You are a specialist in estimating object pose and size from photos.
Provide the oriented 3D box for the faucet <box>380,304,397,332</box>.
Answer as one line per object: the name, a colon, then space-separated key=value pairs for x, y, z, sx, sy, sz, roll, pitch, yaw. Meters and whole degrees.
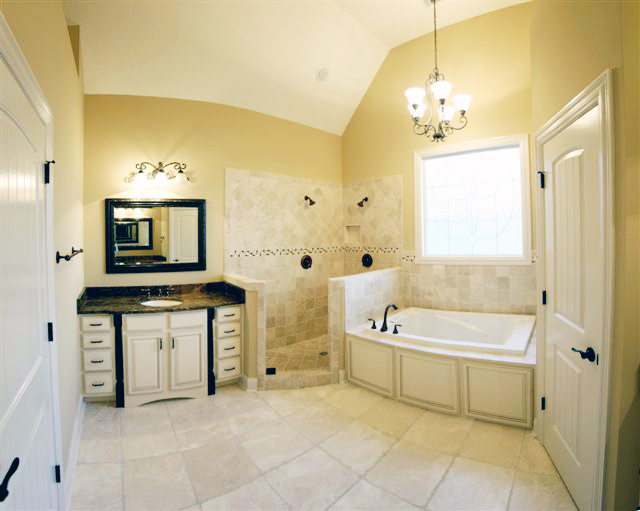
faucet: x=0.729 y=0.624 z=5.107 sx=0.160 sy=0.267 sz=0.871 roll=-1 pitch=1 yaw=9

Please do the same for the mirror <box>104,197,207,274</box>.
mirror: x=-1.750 y=-0.204 z=4.918 sx=0.752 sy=0.690 sz=0.063 roll=0 pitch=1 yaw=-30

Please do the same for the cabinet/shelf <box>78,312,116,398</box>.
cabinet/shelf: x=-1.996 y=0.892 z=4.260 sx=0.276 sy=0.631 sz=0.114 roll=-2 pitch=1 yaw=-26
